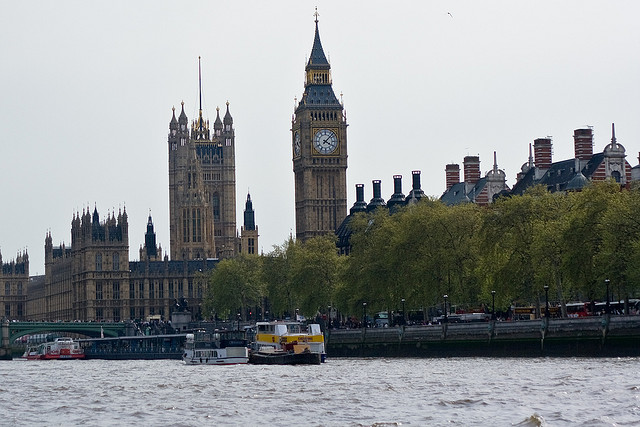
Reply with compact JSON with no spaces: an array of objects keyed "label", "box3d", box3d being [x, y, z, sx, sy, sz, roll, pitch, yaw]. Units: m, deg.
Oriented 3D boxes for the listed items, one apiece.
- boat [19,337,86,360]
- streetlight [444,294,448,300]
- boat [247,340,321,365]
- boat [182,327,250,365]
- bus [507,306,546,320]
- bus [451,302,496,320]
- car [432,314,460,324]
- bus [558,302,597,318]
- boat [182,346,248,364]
[{"label":"boat","box3d":[-42.650,21.108,279.419,8.207,3.983,11.569,-1,-9,-15]},{"label":"streetlight","box3d":[14.695,9.390,203.714,0.553,0.635,0.483,-3,-43,6]},{"label":"boat","box3d":[-5.023,15.795,206.207,3.133,2.612,9.129,5,-10,-39]},{"label":"boat","box3d":[-13.728,16.832,223.178,4.216,4.342,11.124,3,-5,-39]},{"label":"bus","box3d":[23.961,11.337,204.411,2.988,1.500,2.174,0,-10,1]},{"label":"bus","box3d":[17.998,11.171,204.319,5.021,2.687,2.116,1,-2,10]},{"label":"car","box3d":[14.715,11.876,203.037,2.218,1.283,4.960,-2,-9,-8]},{"label":"bus","box3d":[29.396,10.608,199.424,1.586,1.564,3.348,0,-5,-42]},{"label":"boat","box3d":[-13.380,17.362,220.128,2.210,2.744,12.160,3,-10,-35]}]
